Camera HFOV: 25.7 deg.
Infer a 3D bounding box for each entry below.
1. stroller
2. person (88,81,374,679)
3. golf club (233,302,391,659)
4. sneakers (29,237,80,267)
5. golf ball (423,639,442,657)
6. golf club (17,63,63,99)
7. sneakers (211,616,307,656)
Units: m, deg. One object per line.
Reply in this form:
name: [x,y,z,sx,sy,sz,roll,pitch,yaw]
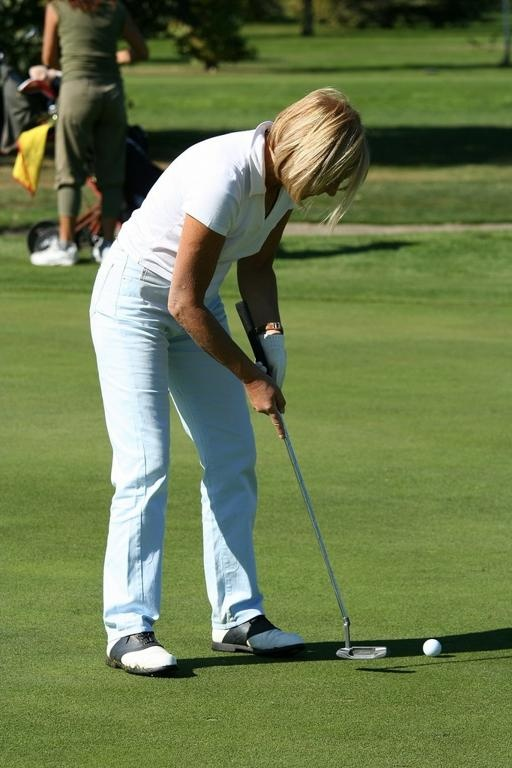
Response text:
stroller: [-1.079,-1.442,7.474,0.735,1.600,0.715,4,21,-7]
person: [-0.093,-0.026,2.644,0.567,1.308,0.682,-1,13,-10]
golf club: [0.104,0.253,2.725,0.379,0.827,0.348,5,23,1]
sneakers: [-1.390,-0.938,7.770,0.338,0.202,0.159,2,12,10]
golf ball: [0.396,0.592,2.540,0.040,0.039,0.047,0,-12,44]
golf club: [-1.345,-2.010,7.361,0.153,0.196,0.500,12,15,15]
sneakers: [0.004,0.594,2.647,0.216,0.079,0.188,1,13,4]
